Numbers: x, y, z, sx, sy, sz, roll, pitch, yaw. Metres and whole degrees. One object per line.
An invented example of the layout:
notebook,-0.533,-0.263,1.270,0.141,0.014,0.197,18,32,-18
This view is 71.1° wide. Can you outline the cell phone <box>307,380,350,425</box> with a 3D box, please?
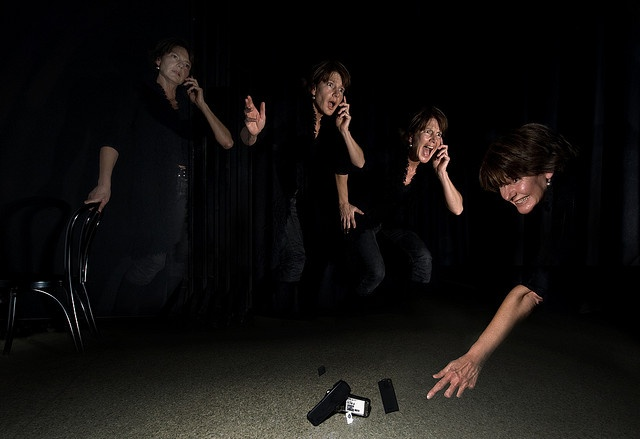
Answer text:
cell phone,0.049,0.975,2.412,0.269,0.130,0.063,-36,4,-18
